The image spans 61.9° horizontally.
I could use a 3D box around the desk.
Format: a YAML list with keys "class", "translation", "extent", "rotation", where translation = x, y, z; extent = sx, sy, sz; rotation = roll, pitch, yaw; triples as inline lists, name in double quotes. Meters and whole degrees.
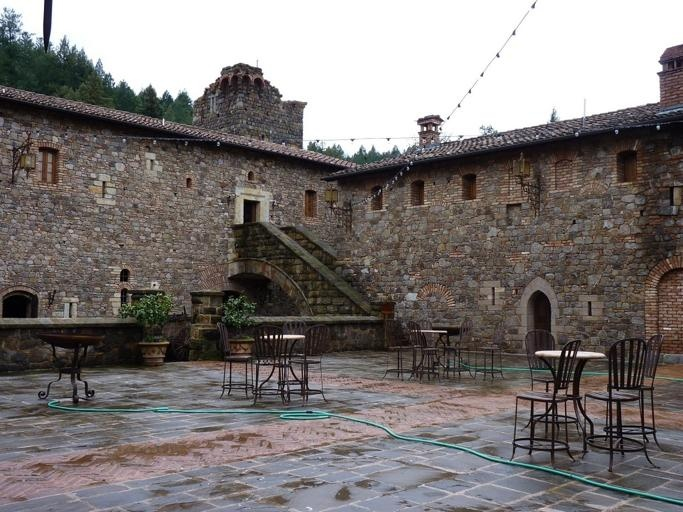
- class: "desk"
  translation: [-3.966, 1.582, 8.393]
  extent: [0.951, 0.785, 0.883]
  rotation: [-5, -14, 35]

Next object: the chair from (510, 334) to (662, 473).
- class: "chair"
  translation: [2.664, 1.424, 6.286]
  extent: [1.263, 1.140, 2.063]
  rotation: [-1, -5, 21]

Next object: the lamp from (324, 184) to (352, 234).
- class: "lamp"
  translation: [-0.037, -1.586, 21.354]
  extent: [1.001, 1.604, 1.811]
  rotation: [1, -5, 1]

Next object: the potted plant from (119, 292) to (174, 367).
- class: "potted plant"
  translation: [-4.109, 1.539, 12.426]
  extent: [0.925, 1.499, 0.962]
  rotation: [-4, -8, 44]
